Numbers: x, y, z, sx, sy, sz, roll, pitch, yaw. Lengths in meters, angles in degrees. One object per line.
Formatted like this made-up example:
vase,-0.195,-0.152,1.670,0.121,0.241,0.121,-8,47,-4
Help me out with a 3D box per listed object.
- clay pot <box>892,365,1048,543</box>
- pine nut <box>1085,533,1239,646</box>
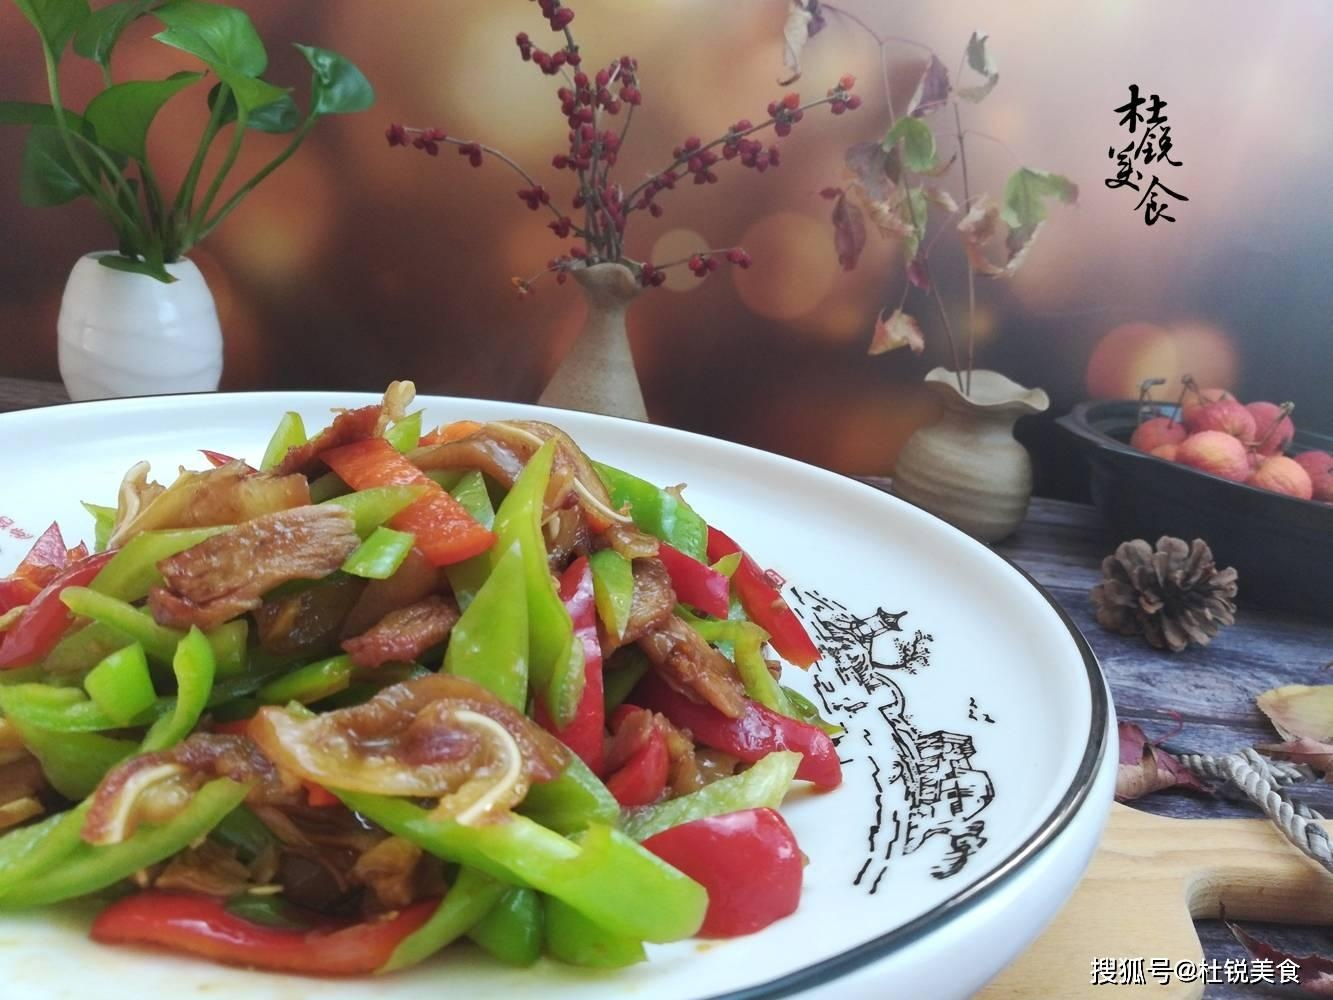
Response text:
clay pot,0.491,-0.066,1.767,0.223,0.257,0.222,3,22,-1
pine nut,0.692,0.128,1.568,0.170,0.090,0.174,25,30,38
